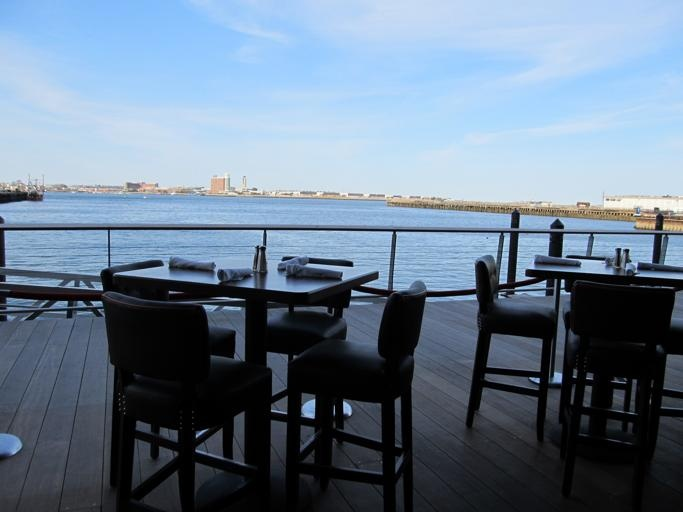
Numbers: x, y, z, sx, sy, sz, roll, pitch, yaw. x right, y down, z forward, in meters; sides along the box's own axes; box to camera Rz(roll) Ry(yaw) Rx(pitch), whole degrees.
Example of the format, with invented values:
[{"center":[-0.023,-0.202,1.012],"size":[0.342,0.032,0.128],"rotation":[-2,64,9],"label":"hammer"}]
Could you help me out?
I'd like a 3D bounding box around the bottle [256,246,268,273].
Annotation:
[{"center":[-0.409,0.015,2.931],"size":[0.058,0.132,0.139],"rotation":[0,6,-9],"label":"bottle"}]
